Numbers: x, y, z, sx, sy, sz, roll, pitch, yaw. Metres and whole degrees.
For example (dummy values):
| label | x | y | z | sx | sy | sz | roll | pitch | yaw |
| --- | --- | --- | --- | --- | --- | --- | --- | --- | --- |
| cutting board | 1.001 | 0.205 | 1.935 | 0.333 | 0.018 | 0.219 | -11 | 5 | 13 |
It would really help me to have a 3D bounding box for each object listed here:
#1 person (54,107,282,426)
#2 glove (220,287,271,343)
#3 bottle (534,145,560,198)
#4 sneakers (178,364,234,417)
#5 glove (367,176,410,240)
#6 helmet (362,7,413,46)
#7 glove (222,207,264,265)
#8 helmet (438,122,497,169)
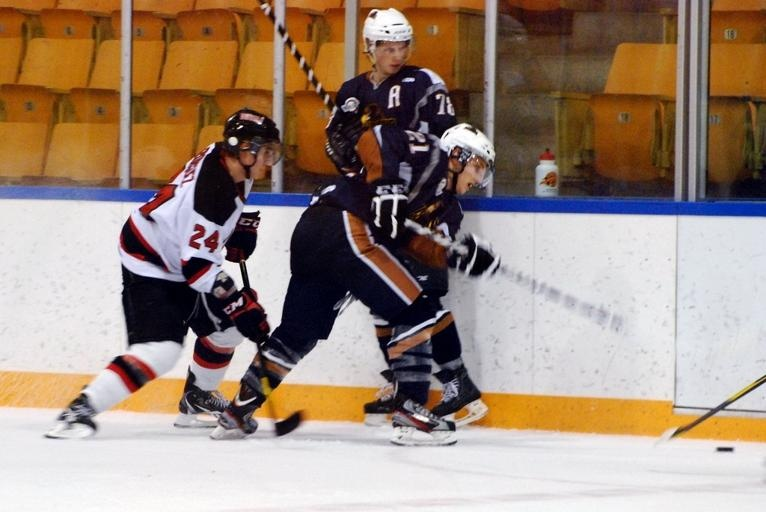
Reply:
| label | x | y | z | sx | sy | sz | roll | pitch | yaw |
| --- | --- | --- | --- | --- | --- | --- | --- | --- | --- |
| person | -0.934 | 0.082 | 5.124 | 0.849 | 1.539 | 0.404 | 4 | 7 | -14 |
| glove | -0.601 | 0.270 | 5.106 | 0.247 | 0.185 | 0.097 | 38 | -5 | -15 |
| bottle | 0.826 | -0.405 | 5.695 | 0.149 | 0.255 | 0.149 | -1 | -8 | 0 |
| sneakers | -0.821 | 0.677 | 5.418 | 0.282 | 0.230 | 0.093 | 11 | 12 | -21 |
| glove | 0.043 | -0.248 | 5.045 | 0.179 | 0.063 | 0.280 | 1 | 32 | -7 |
| helmet | 0.030 | -1.097 | 5.407 | 0.215 | 0.207 | 0.166 | 7 | 16 | 21 |
| glove | -0.646 | -0.089 | 5.319 | 0.149 | 0.238 | 0.093 | 22 | 16 | 5 |
| helmet | 0.391 | -0.507 | 5.223 | 0.232 | 0.213 | 0.182 | 19 | -2 | -5 |
